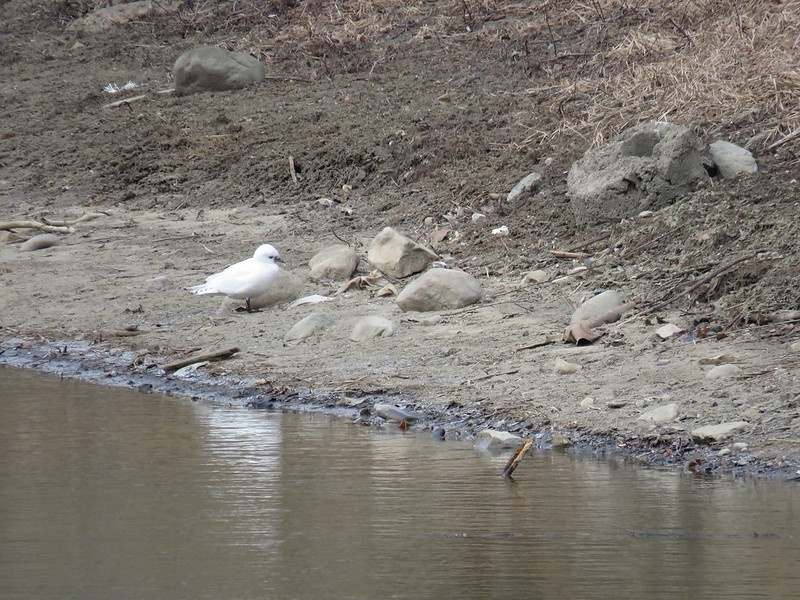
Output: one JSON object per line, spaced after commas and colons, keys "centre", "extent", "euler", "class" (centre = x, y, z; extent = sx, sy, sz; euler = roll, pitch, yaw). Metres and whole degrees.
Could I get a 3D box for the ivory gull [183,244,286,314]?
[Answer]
{"centre": [-2.014, -0.251, 19.514], "extent": [1.111, 0.803, 0.507], "euler": [0, -3, 32], "class": "ivory gull"}
